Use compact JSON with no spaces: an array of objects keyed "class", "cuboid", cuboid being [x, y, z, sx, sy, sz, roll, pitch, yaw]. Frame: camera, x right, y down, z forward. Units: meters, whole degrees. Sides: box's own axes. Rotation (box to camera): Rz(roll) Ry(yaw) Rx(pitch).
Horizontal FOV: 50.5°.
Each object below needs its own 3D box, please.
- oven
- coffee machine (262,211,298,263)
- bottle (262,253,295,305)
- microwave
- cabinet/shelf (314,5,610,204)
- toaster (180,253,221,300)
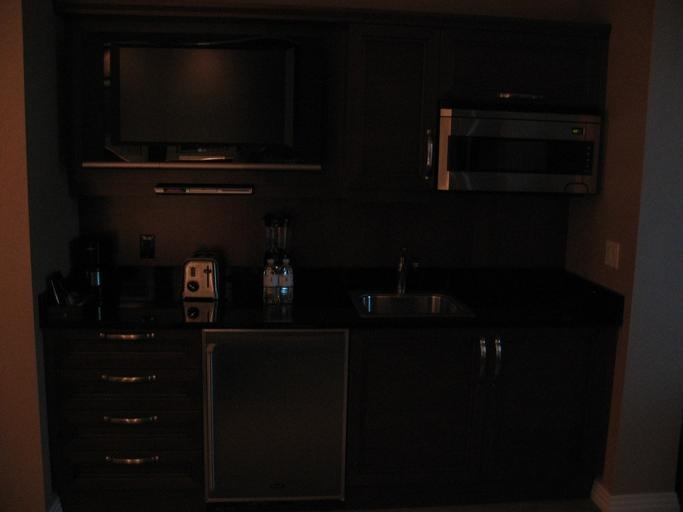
[{"class":"oven","cuboid":[-0.755,-0.748,3.867,1.238,0.838,0.290,0,10,-4]},{"class":"coffee machine","cuboid":[-0.338,-0.117,4.317,0.235,0.456,0.254,0,8,-5]},{"class":"bottle","cuboid":[-0.353,0.131,4.042,0.163,0.246,0.208,-4,10,-6]},{"class":"microwave","cuboid":[0.955,-0.560,4.122,0.765,0.394,0.468,2,5,-4]},{"class":"cabinet/shelf","cuboid":[0.696,-0.438,4.211,2.202,1.415,0.795,1,4,-4]},{"class":"toaster","cuboid":[-0.789,0.110,4.104,0.182,0.229,0.303,0,8,-10]}]
